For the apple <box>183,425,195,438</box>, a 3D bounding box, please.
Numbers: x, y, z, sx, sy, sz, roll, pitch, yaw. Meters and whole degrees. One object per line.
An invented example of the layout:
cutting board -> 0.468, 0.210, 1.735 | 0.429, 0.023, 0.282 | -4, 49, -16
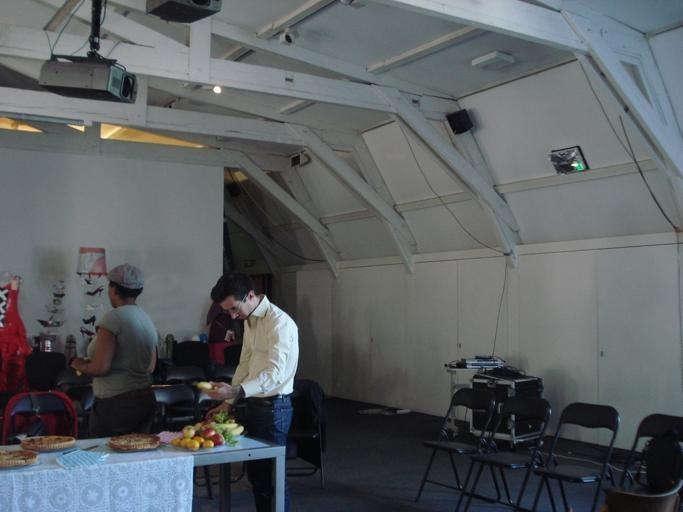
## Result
apple -> -1.037, 1.193, 3.851 | 0.066, 0.067, 0.035 | -30, -14, -35

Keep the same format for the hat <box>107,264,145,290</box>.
hat -> -1.718, 0.147, 4.462 | 0.179, 0.142, 0.245 | -1, 11, -43

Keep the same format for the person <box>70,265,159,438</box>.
person -> -1.732, 0.732, 4.347 | 0.598, 1.312, 0.375 | 0, -5, -21

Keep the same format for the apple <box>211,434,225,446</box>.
apple -> -0.828, 1.233, 3.809 | 0.064, 0.055, 0.073 | 4, -5, -32

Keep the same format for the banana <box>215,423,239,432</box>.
banana -> -0.790, 1.191, 3.936 | 0.155, 0.060, 0.115 | -1, -5, -13

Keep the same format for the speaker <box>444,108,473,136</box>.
speaker -> 1.640, -1.835, 7.921 | 0.336, 0.354, 0.102 | -17, -9, 14

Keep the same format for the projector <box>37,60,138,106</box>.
projector -> -2.212, -1.512, 4.994 | 0.480, 0.201, 0.497 | 4, 0, 3
